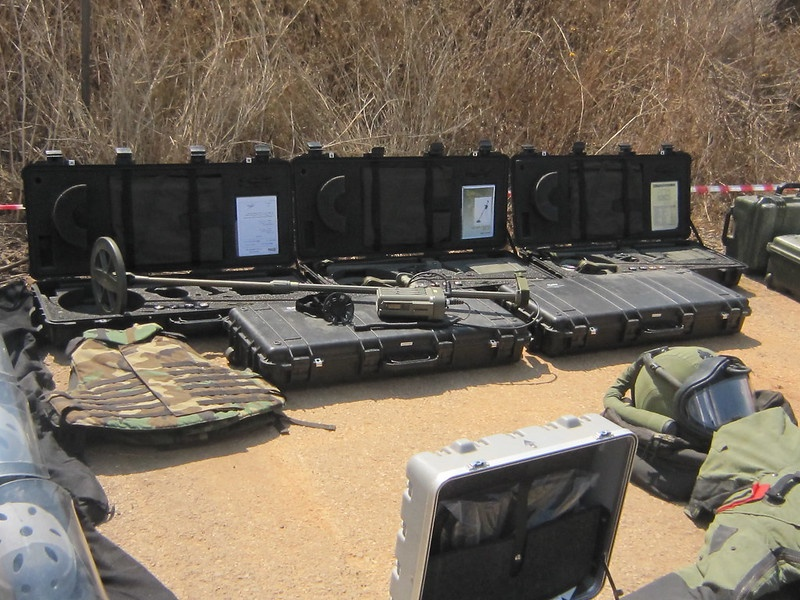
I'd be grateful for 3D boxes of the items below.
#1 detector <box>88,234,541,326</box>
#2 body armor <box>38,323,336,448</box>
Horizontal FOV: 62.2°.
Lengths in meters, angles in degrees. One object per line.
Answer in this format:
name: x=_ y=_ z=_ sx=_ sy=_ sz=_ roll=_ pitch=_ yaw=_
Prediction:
detector: x=-0.938 y=-0.164 z=6.098 sx=3.345 sy=0.588 sz=0.777 roll=2 pitch=13 yaw=-9
body armor: x=-1.690 y=0.619 z=4.880 sx=1.557 sy=0.632 sz=1.265 roll=-6 pitch=13 yaw=-23
